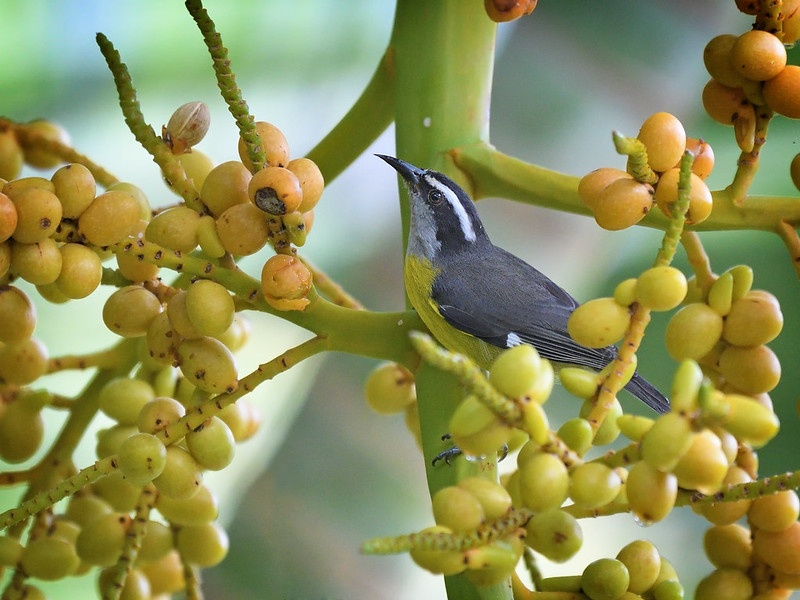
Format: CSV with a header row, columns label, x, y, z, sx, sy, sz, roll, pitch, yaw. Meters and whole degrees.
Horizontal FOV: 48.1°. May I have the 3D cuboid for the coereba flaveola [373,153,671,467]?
label,x,y,z,sx,sy,sz,roll,pitch,yaw
coereba flaveola,0.212,0.029,1.558,0.540,0.497,0.201,7,13,1
